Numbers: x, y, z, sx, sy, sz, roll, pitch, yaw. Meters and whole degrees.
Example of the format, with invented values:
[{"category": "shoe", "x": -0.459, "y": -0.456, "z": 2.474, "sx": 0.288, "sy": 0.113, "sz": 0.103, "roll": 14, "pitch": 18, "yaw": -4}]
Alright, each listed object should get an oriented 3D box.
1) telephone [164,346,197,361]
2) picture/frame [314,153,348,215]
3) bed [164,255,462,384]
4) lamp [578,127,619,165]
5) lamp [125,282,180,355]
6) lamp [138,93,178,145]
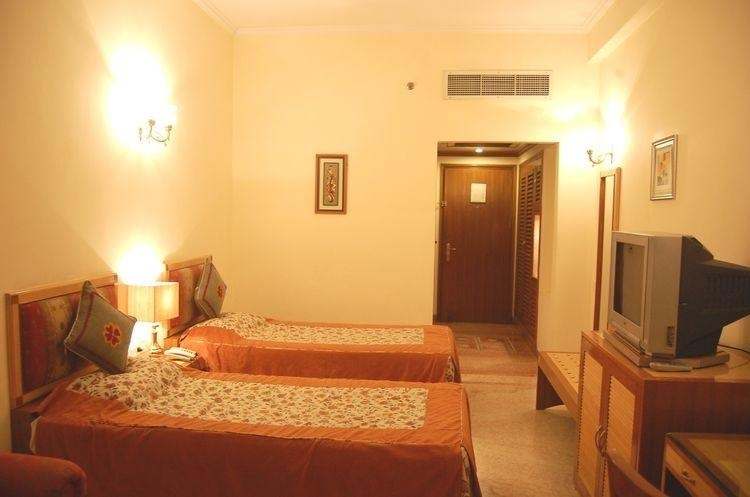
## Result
[{"category": "telephone", "x": -1.584, "y": 0.867, "z": 4.519, "sx": 0.144, "sy": 0.043, "sz": 0.144, "roll": 9, "pitch": 0, "yaw": 1}, {"category": "picture/frame", "x": -0.494, "y": -0.742, "z": 6.287, "sx": 0.334, "sy": 0.635, "sz": 0.109, "roll": 1, "pitch": 9, "yaw": -5}, {"category": "bed", "x": -0.493, "y": 0.477, "z": 5.065, "sx": 2.152, "sy": 0.904, "sz": 1.249, "roll": 0, "pitch": 6, "yaw": 3}, {"category": "lamp", "x": 2.401, "y": -1.104, "z": 5.920, "sx": 0.275, "sy": 0.494, "sz": 0.501, "roll": 1, "pitch": -1, "yaw": -10}, {"category": "lamp", "x": -1.809, "y": 0.566, "z": 4.559, "sx": 0.335, "sy": 0.495, "sz": 0.348, "roll": 0, "pitch": 0, "yaw": 3}, {"category": "lamp", "x": -1.971, "y": -1.126, "z": 4.829, "sx": 0.098, "sy": 0.410, "sz": 0.416, "roll": 12, "pitch": 34, "yaw": 25}]
